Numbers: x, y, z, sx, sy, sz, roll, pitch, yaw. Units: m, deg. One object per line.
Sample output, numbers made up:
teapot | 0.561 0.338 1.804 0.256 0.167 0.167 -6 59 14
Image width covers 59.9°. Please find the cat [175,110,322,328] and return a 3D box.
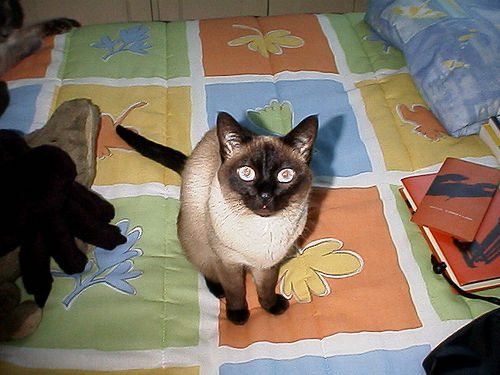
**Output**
cat | -0.018 0.044 1.329 0.389 0.656 0.562 -5 33 -17
